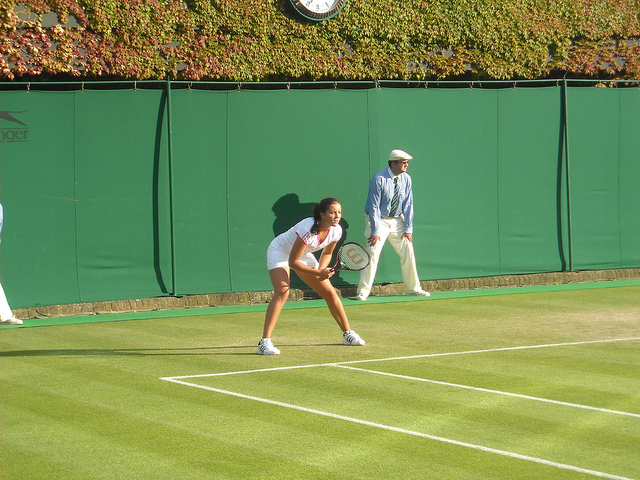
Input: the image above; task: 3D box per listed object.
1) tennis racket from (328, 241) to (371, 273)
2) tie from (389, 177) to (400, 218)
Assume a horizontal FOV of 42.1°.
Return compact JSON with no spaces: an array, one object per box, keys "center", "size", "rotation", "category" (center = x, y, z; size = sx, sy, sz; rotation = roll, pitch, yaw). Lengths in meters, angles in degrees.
[{"center":[0.420,0.216,10.441],"size":[0.373,0.353,0.913],"rotation":[0,6,2],"category":"tennis racket"},{"center":[1.221,-0.689,13.595],"size":[0.167,0.636,0.060],"rotation":[-4,7,-30],"category":"tie"}]
